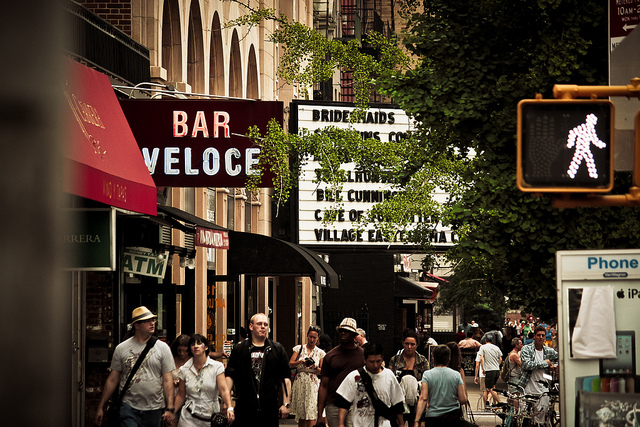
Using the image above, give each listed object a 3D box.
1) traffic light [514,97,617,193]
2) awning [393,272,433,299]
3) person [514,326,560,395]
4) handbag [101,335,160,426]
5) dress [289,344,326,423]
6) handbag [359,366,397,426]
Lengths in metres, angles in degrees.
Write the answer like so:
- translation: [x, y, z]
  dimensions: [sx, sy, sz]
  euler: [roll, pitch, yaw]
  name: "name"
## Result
- translation: [2.708, -0.740, 12.572]
  dimensions: [0.903, 0.971, 0.380]
  euler: [1, -5, -5]
  name: "traffic light"
- translation: [3.302, 2.589, 40.120]
  dimensions: [1.275, 0.859, 3.191]
  euler: [1, -6, 5]
  name: "awning"
- translation: [4.072, 2.768, 21.201]
  dimensions: [0.740, 1.242, 0.621]
  euler: [1, -5, -3]
  name: "person"
- translation: [-2.794, 2.581, 17.014]
  dimensions: [0.194, 1.870, 0.276]
  euler: [19, -16, 26]
  name: "handbag"
- translation: [-0.249, 3.290, 21.871]
  dimensions: [0.630, 1.535, 0.776]
  euler: [1, -3, 14]
  name: "dress"
- translation: [0.833, 2.644, 16.138]
  dimensions: [0.536, 0.808, 0.158]
  euler: [1, -5, 2]
  name: "handbag"
